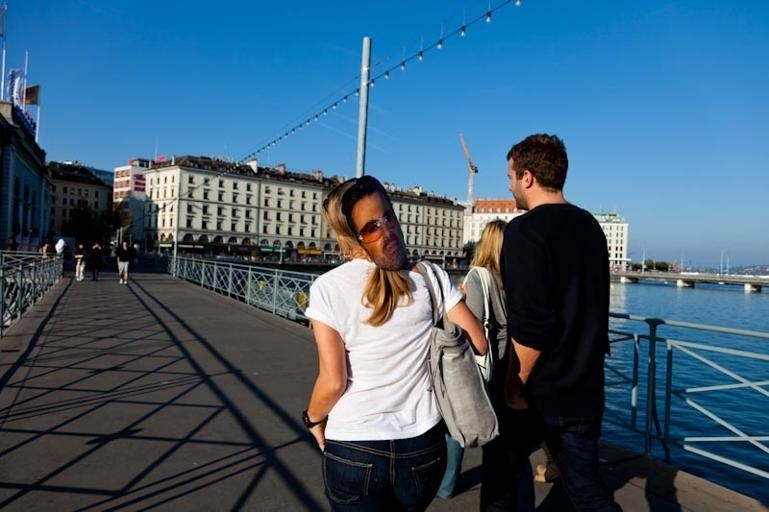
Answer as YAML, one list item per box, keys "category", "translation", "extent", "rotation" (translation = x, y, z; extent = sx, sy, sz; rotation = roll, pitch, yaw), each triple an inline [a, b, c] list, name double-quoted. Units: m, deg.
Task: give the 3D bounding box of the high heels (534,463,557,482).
- category: "high heels"
  translation: [1.684, 2.269, 6.139]
  extent: [0.097, 0.162, 0.252]
  rotation: [-2, -6, -13]

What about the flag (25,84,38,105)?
- category: "flag"
  translation: [-29.001, -13.383, 48.490]
  extent: [1.030, 1.449, 0.489]
  rotation: [1, 3, -11]

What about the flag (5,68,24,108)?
- category: "flag"
  translation: [-26.013, -11.810, 41.596]
  extent: [0.919, 2.852, 4.081]
  rotation: [0, 4, -32]
